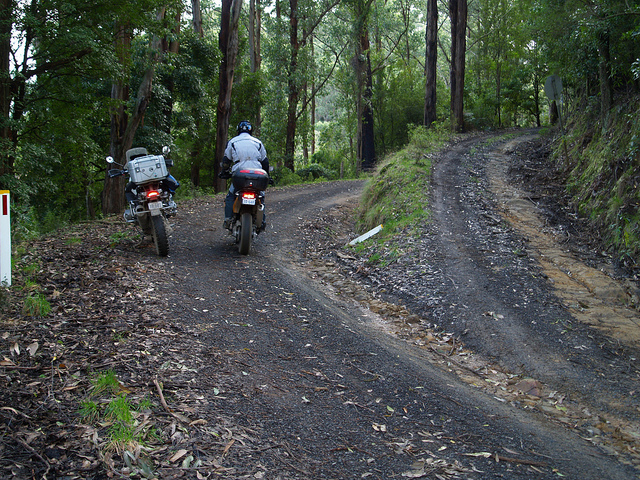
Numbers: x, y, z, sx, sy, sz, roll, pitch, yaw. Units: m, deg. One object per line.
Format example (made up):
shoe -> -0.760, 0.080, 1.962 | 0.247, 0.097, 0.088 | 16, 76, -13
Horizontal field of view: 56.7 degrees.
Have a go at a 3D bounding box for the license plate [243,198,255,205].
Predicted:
license plate -> -1.541, -0.824, 12.796 | 0.247, 0.144, 0.034 | -4, 9, -11

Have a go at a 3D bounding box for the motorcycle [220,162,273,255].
motorcycle -> -1.572, -0.604, 13.152 | 0.971, 1.965, 0.677 | -3, 9, -7

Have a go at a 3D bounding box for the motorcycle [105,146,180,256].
motorcycle -> -3.664, -0.841, 12.777 | 1.130, 2.256, 1.185 | -1, 9, 7
